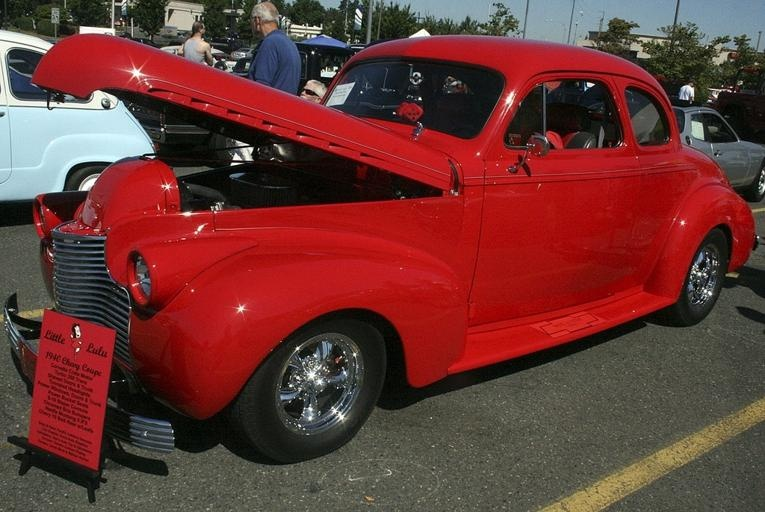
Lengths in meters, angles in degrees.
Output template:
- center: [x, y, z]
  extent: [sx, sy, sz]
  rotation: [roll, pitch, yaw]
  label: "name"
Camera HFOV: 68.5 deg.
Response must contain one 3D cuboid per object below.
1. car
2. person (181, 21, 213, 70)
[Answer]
- center: [0.813, -0.487, 4.870]
  extent: [6.368, 2.642, 2.304]
  rotation: [-7, 23, -34]
  label: "car"
- center: [-3.331, -3.865, 10.317]
  extent: [0.585, 0.779, 0.450]
  rotation: [22, 37, 18]
  label: "person"
